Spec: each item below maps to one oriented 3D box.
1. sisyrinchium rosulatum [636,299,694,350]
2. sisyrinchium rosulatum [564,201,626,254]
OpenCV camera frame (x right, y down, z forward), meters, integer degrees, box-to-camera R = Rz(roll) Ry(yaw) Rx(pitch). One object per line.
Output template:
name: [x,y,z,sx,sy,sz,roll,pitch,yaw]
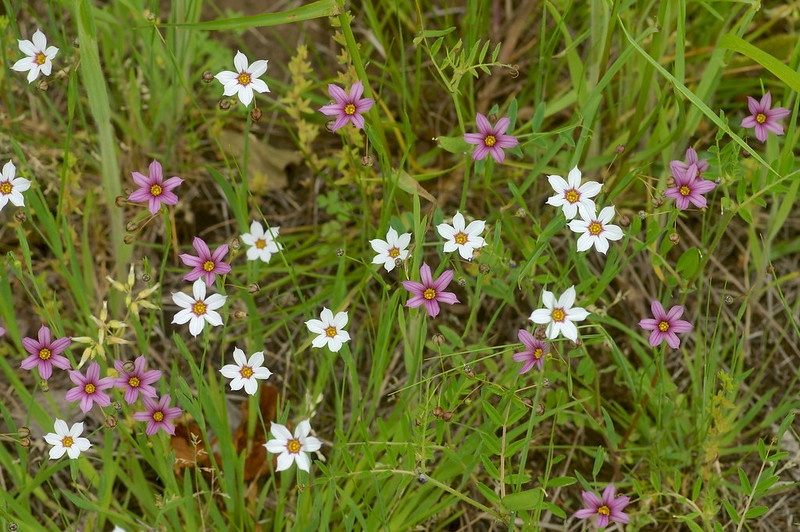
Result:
sisyrinchium rosulatum: [1.066,0.243,2.908,0.210,0.240,0.062,18,14,3]
sisyrinchium rosulatum: [0.757,-0.133,2.723,0.197,0.130,0.191,-24,62,-16]
